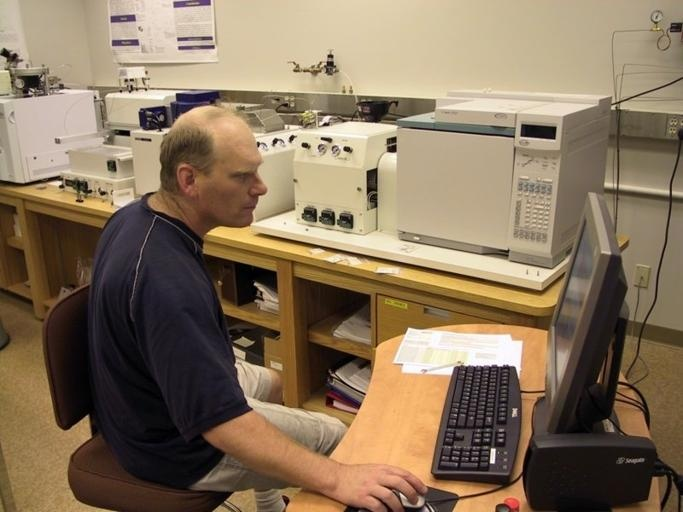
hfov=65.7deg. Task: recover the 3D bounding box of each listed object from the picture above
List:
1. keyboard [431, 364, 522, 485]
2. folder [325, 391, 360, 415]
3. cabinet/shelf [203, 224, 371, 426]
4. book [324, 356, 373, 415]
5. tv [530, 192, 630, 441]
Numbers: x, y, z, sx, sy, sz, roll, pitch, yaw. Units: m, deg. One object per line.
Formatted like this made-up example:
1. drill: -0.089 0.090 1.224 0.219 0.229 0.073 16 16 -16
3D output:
1. keyboard: 0.365 0.412 1.368 0.198 0.042 0.423 -4 22 21
2. folder: -0.004 0.705 2.533 0.135 0.048 0.138 11 9 -3
3. cabinet/shelf: -0.197 0.279 2.245 0.684 0.683 0.298 18 27 30
4. book: 0.035 0.650 2.533 0.216 0.092 0.286 15 23 34
5. tv: 0.597 0.153 1.361 0.178 0.541 0.508 6 29 11
